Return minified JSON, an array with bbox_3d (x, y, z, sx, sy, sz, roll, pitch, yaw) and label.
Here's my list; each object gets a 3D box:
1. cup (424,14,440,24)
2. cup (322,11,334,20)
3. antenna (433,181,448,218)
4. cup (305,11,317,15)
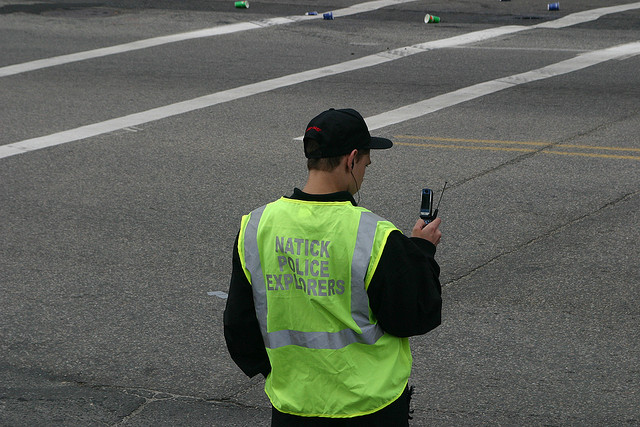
[{"bbox_3d":[2.639,-4.554,22.526,0.338,0.254,0.268,-7,10,-15],"label":"cup"},{"bbox_3d":[0.212,-4.747,23.030,0.288,0.181,0.221,5,39,11],"label":"cup"},{"bbox_3d":[1.542,-0.170,12.219,0.104,0.417,0.460,21,25,16],"label":"antenna"},{"bbox_3d":[-0.184,-4.904,23.482,0.221,0.053,0.126,1,19,-9],"label":"cup"}]
